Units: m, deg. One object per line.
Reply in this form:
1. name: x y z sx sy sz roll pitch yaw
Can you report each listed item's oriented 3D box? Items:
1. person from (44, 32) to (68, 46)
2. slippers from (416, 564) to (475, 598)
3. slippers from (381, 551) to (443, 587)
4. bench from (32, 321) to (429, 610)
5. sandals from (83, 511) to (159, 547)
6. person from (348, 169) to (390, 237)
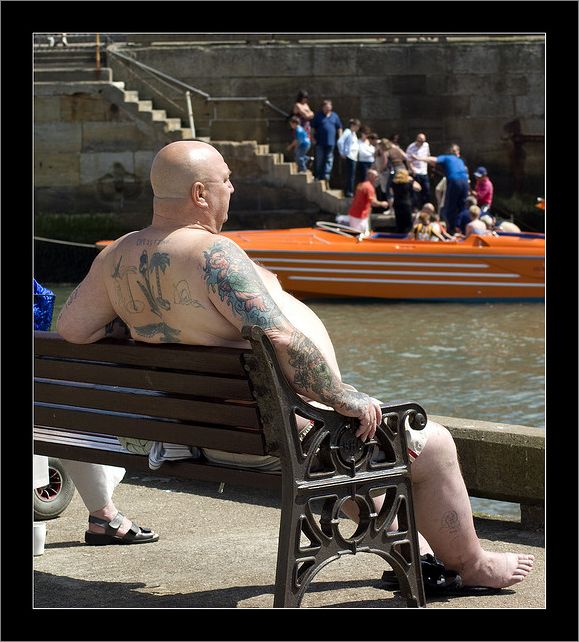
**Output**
1. person: -4.426 -5.320 27.115 0.380 0.205 0.761 1 8 -5
2. slippers: 0.516 0.885 4.889 0.224 0.076 0.081 4 17 3
3. slippers: 0.441 0.870 4.945 0.264 0.094 0.083 -6 33 1
4. bench: -0.248 0.436 4.698 1.320 0.943 0.494 6 10 28
5. sandals: -0.658 0.805 5.560 0.273 0.114 0.115 -2 1 -17
6. person: 1.043 -1.521 18.479 0.567 0.510 1.347 -16 -24 -6
